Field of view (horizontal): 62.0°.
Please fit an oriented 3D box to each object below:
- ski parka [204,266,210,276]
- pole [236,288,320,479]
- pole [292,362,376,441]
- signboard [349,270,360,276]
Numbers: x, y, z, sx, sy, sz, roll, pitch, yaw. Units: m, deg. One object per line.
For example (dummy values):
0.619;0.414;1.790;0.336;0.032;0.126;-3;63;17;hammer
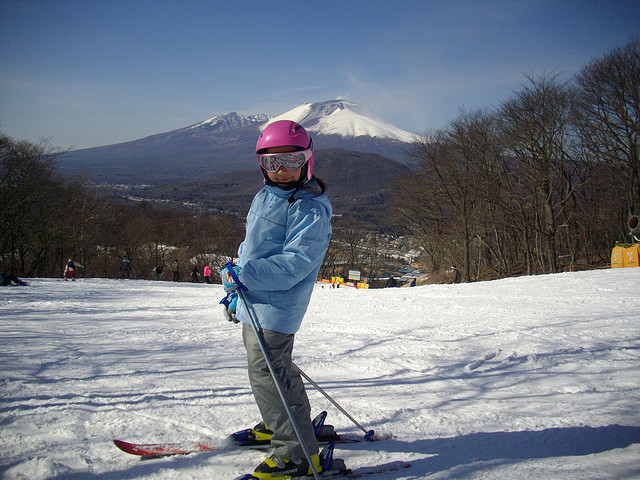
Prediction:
-5.694;1.548;26.699;0.142;0.443;0.585;3;-3;-19;ski parka
-0.539;1.784;6.411;0.169;2.201;0.302;-15;0;-5;pole
0.193;2.180;7.116;1.246;0.174;0.225;46;-2;2;pole
2.091;2.010;32.970;0.034;0.444;0.724;3;3;-32;signboard
